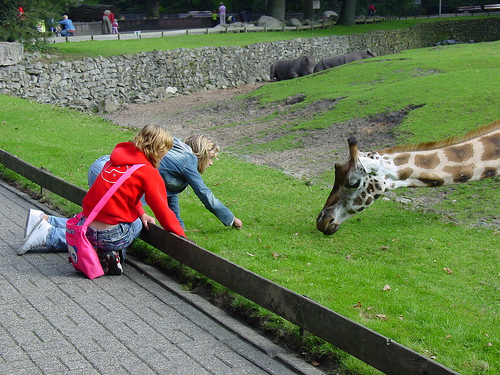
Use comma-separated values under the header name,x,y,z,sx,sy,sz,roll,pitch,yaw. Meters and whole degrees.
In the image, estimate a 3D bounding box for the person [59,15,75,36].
name,x,y,z,sx,sy,sz,roll,pitch,yaw
person,-11.856,-10.533,37.886,0.728,1.305,2.043,-5,19,-17

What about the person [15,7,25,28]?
name,x,y,z,sx,sy,sz,roll,pitch,yaw
person,-10.045,-7.461,25.496,0.358,0.876,0.604,-4,19,-16
